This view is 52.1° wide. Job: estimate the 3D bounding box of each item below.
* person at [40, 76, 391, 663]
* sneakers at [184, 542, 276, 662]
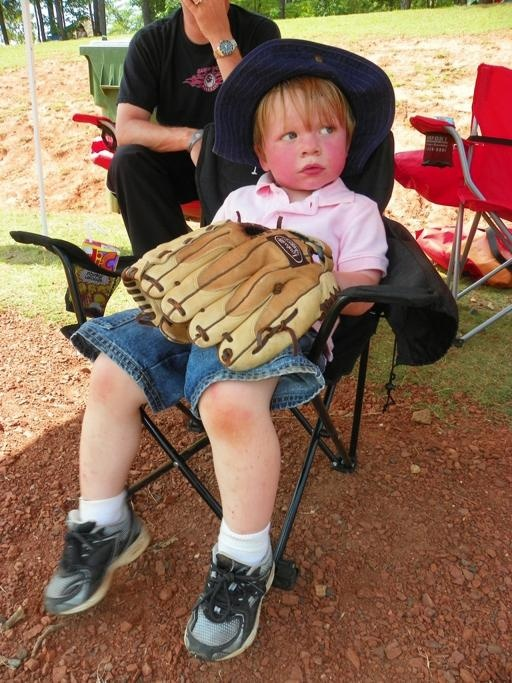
[{"bbox_3d":[-0.063,-0.012,1.246,0.636,1.096,0.960,9,29,18],"label":"person"},{"bbox_3d":[-0.037,0.522,1.128,0.133,0.112,0.263,18,47,18],"label":"sneakers"}]
